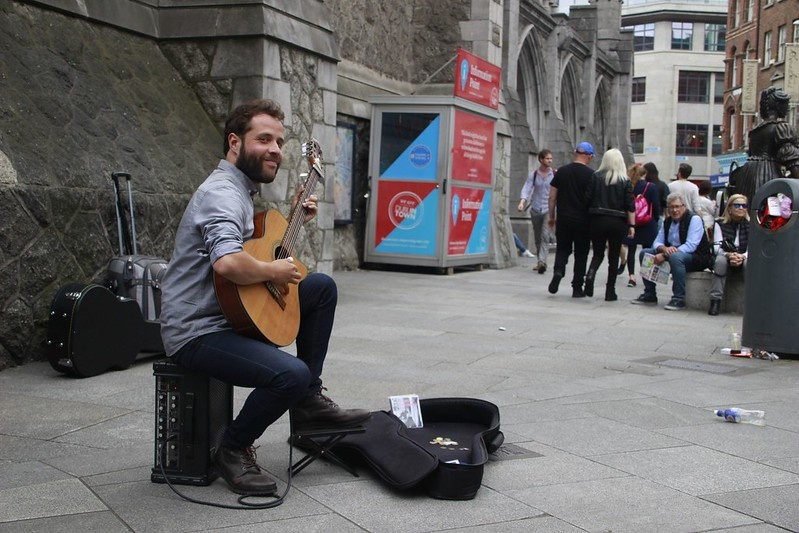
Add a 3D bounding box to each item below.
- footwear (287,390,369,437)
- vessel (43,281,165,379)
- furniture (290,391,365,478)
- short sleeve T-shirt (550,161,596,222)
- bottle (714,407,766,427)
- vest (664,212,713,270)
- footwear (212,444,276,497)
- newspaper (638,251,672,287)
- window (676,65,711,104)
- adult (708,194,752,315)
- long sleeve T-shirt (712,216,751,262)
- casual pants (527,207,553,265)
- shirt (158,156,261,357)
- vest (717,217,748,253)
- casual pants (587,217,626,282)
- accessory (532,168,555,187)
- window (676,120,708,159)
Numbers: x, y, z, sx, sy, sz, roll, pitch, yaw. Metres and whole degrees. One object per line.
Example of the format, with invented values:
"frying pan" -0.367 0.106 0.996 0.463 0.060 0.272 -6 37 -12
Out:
"footwear" -0.506 0.990 5.351 0.630 0.348 0.211 -3 3 -8
"vessel" -2.658 0.582 6.981 0.256 0.608 0.883 0 0 33
"furniture" -0.513 1.136 5.453 0.556 0.565 0.475 -2 1 -7
"short sleeve T-shirt" 2.692 -1.191 12.008 0.788 0.948 0.378 6 15 34
"bottle" 2.685 1.164 6.218 0.443 0.134 0.137 6 -1 15
"vest" 4.133 -0.338 11.299 0.479 0.859 0.677 1 -12 -33
"footwear" -1.016 1.296 5.085 0.248 0.258 0.593 6 2 -43
"newspaper" 3.769 0.029 11.575 0.525 0.495 0.212 16 5 18
"window" 26.073 -16.174 69.999 3.515 3.737 0.254 2 -3 -2
"adult" 4.571 -0.197 10.756 0.547 1.551 0.896 4 14 25
"long sleeve T-shirt" 4.475 -0.357 10.567 0.574 0.753 0.396 0 -13 11
"casual pants" 2.968 -0.666 16.464 0.419 1.265 0.347 -4 -15 32
"shirt" -1.282 -0.093 5.107 0.263 1.133 0.631 -9 -27 30
"vest" 4.565 -0.415 10.770 0.483 0.470 0.271 1 -8 9
"casual pants" 3.088 -0.276 11.768 0.589 1.281 0.563 4 2 4
"accessory" 3.015 -1.895 16.657 0.384 0.610 0.575 -1 12 7
"window" 25.628 -11.096 68.823 2.700 2.716 0.904 2 11 6
